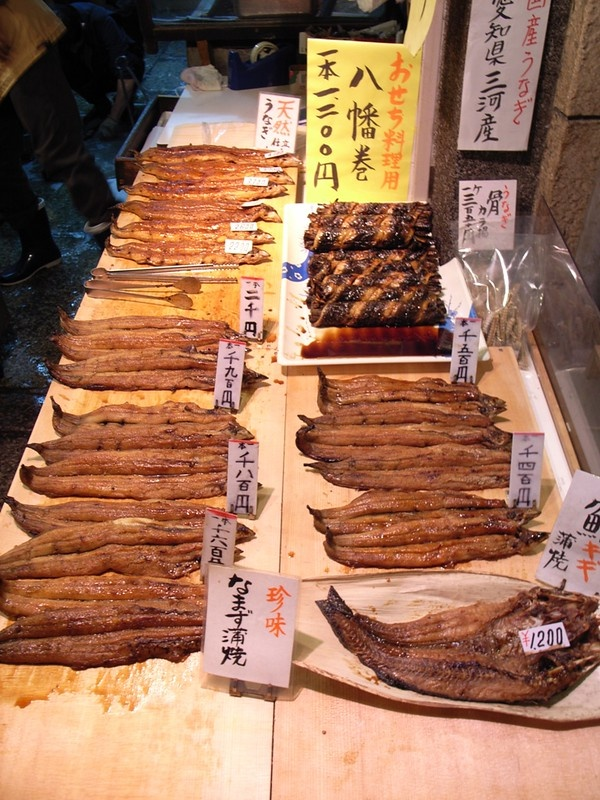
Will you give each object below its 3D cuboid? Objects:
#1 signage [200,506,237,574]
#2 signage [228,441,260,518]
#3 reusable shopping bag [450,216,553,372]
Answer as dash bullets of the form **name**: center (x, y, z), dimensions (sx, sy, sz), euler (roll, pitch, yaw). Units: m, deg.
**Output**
- **signage**: center (-0.342, 0.584, 2.570), dimensions (0.141, 0.029, 0.299), euler (17, 43, -17)
- **signage**: center (-0.258, 0.342, 2.823), dimensions (0.146, 0.016, 0.338), euler (0, 84, 13)
- **reusable shopping bag**: center (1.360, -0.698, 4.065), dimensions (0.623, 0.260, 0.853), euler (-28, 43, -8)
